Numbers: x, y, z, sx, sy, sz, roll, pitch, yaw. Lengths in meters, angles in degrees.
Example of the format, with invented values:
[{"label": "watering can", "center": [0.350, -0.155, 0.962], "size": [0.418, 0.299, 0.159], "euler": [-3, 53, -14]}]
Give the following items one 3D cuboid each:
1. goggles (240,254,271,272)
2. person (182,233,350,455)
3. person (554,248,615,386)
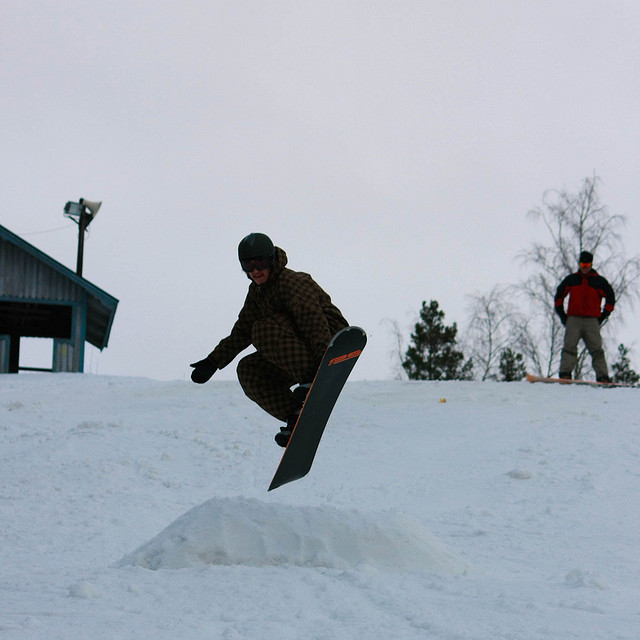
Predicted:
[{"label": "goggles", "center": [-0.432, -0.384, 5.281], "size": [0.203, 0.113, 0.105], "euler": [0, -1, -4]}, {"label": "person", "center": [-0.326, 0.145, 5.459], "size": [0.919, 1.415, 0.671], "euler": [-17, -18, 25]}, {"label": "person", "center": [3.779, -0.093, 11.420], "size": [0.808, 1.911, 1.019], "euler": [0, -1, 21]}]
